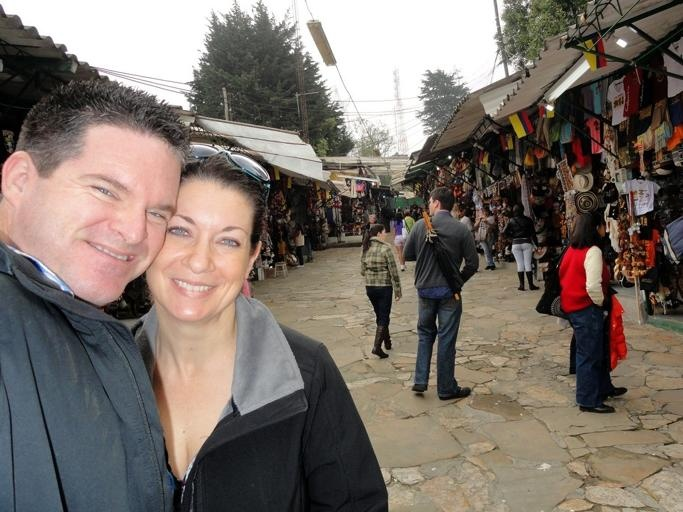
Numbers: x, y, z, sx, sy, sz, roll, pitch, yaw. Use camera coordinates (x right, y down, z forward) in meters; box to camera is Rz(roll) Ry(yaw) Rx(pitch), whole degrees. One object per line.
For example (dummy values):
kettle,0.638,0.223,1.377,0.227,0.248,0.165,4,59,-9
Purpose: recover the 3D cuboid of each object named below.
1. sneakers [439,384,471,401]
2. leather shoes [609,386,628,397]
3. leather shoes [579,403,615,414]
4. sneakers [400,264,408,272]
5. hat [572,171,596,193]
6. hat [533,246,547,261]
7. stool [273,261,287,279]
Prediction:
sneakers,1.226,1.436,5.283,0.384,0.141,0.132,-4,5,-10
leather shoes,2.764,1.351,4.938,0.218,0.063,0.087,-12,-32,-3
leather shoes,2.425,1.437,4.706,0.316,0.116,0.112,-3,-3,11
sneakers,1.989,0.381,15.476,0.169,0.215,0.520,-4,-11,8
hat,4.180,-1.275,8.500,0.377,0.350,0.138,2,10,23
hat,4.300,-0.065,10.685,0.068,0.258,0.276,5,9,-32
stool,-2.033,0.469,16.629,0.525,0.474,0.496,-1,-2,6
